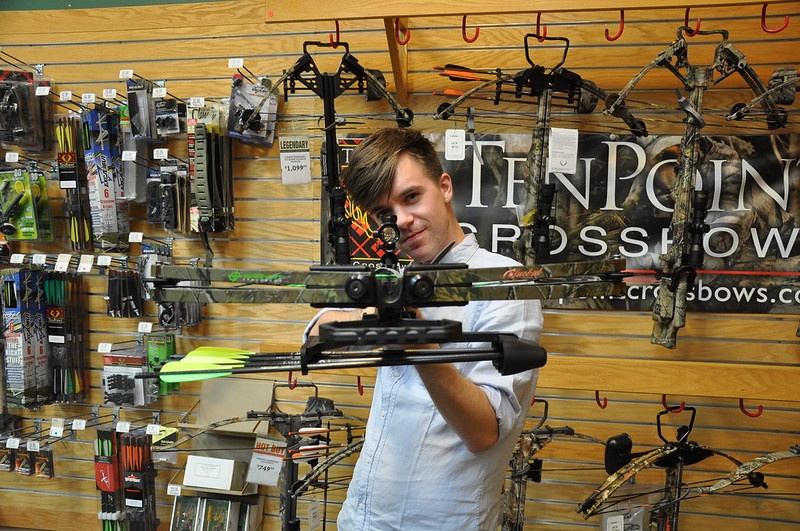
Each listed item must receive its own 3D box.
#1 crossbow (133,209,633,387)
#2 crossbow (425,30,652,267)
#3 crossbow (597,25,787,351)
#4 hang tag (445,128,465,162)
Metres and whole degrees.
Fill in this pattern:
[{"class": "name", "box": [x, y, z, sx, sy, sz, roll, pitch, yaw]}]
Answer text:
[{"class": "crossbow", "box": [-0.093, 0.159, 4.416, 2.282, 0.802, 0.327, 1, -2, 4]}, {"class": "crossbow", "box": [0.928, -0.715, 5.691, 1.701, 1.502, 0.324, 0, 7, -6]}, {"class": "crossbow", "box": [1.824, -0.501, 5.395, 1.170, 1.872, 0.559, 5, 9, 12]}, {"class": "hang tag", "box": [0.340, -0.761, 5.701, 0.163, 0.208, 0.043, -1, -6, 4]}]
